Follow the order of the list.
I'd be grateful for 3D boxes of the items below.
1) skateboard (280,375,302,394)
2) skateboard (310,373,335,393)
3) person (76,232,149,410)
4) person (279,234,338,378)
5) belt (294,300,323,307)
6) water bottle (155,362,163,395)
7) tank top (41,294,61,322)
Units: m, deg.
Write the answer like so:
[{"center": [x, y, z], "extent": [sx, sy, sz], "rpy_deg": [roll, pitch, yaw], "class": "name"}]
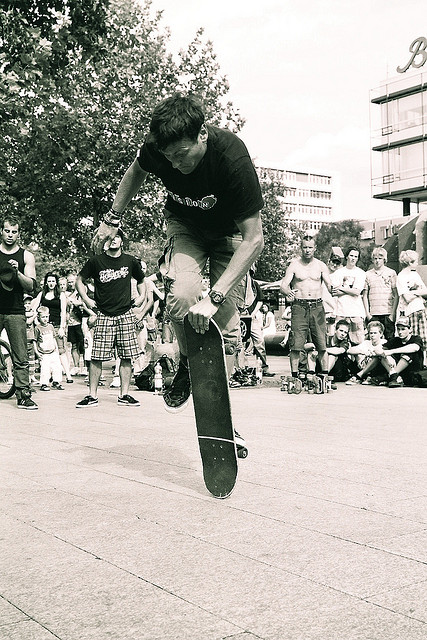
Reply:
[{"center": [1.146, 0.927, 9.436], "extent": [0.240, 0.232, 0.094], "rpy_deg": [1, -6, 28], "class": "skateboard"}, {"center": [1.536, 0.870, 9.256], "extent": [0.291, 0.222, 0.120], "rpy_deg": [-3, -41, 3], "class": "skateboard"}, {"center": [-1.238, -0.087, 8.076], "extent": [1.031, 2.195, 0.764], "rpy_deg": [-1, -2, -10], "class": "person"}, {"center": [1.343, -0.202, 9.556], "extent": [0.754, 2.050, 0.453], "rpy_deg": [-1, 2, -1], "class": "person"}, {"center": [1.364, -0.246, 9.457], "extent": [0.393, 0.106, 0.078], "rpy_deg": [-1, 2, -2], "class": "belt"}, {"center": [-0.798, 0.836, 9.423], "extent": [0.090, 0.434, 0.199], "rpy_deg": [-2, 2, -7], "class": "water bottle"}, {"center": [-2.840, -0.217, 11.618], "extent": [0.340, 0.489, 0.474], "rpy_deg": [-2, 2, -26], "class": "tank top"}]
